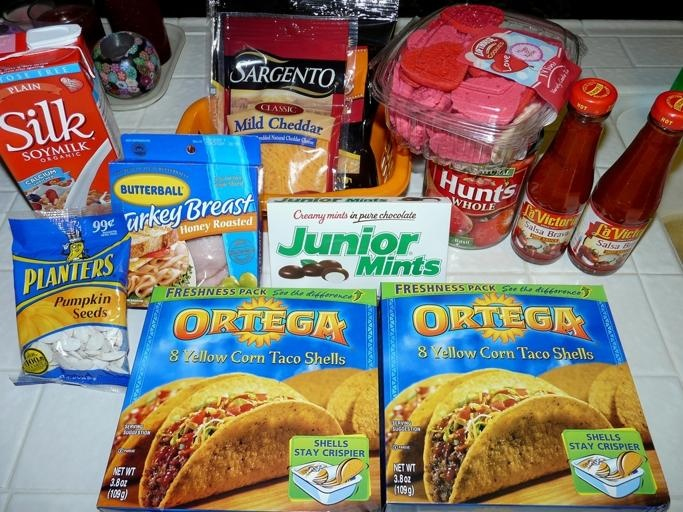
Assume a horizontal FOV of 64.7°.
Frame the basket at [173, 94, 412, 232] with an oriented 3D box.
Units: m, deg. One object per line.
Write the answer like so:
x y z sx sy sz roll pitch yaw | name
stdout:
-0.094 -0.186 1.173 0.486 0.207 0.378 -8 47 -11 | basket

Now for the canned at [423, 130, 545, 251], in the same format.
0.290 -0.148 1.090 0.161 0.236 0.156 -24 43 -31 | canned
